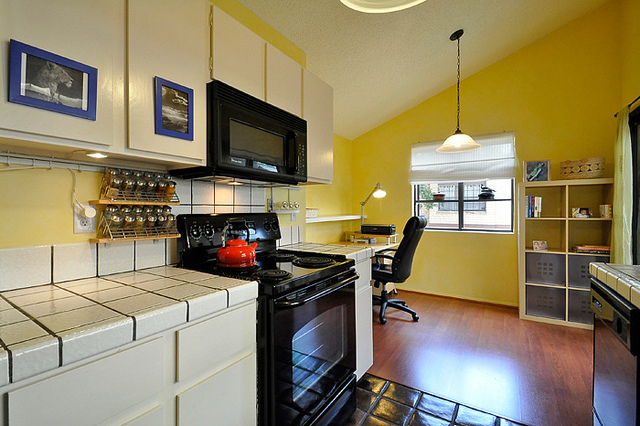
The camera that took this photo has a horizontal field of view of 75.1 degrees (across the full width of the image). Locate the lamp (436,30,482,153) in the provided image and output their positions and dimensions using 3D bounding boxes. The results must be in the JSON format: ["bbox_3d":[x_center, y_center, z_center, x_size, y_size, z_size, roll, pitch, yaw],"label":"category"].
[{"bbox_3d":[1.488,-1.220,4.336,0.409,1.287,1.266,4,15,18],"label":"lamp"}]

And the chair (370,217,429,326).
[{"bbox_3d":[0.847,0.574,4.612,0.538,1.265,1.121,1,15,7],"label":"chair"}]

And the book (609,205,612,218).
[{"bbox_3d":[2.872,-0.025,4.120,0.019,0.080,0.077,1,-9,23],"label":"book"}]

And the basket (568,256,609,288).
[{"bbox_3d":[2.753,0.582,4.295,0.376,0.358,0.280,1,5,24],"label":"basket"}]

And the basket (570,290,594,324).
[{"bbox_3d":[2.719,0.961,4.257,0.245,0.321,0.250,-7,-13,30],"label":"basket"}]

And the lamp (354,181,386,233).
[{"bbox_3d":[0.652,-0.067,5.464,0.386,0.826,0.852,1,15,4],"label":"lamp"}]

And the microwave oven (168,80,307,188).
[{"bbox_3d":[-0.548,-0.507,3.109,0.505,0.574,1.023,-2,-3,35],"label":"microwave oven"}]

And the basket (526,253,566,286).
[{"bbox_3d":[2.425,0.620,4.484,0.396,0.360,0.296,1,-13,24],"label":"basket"}]

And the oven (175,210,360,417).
[{"bbox_3d":[-0.230,0.697,3.654,1.368,2.114,1.463,-3,-3,30],"label":"oven"}]

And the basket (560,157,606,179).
[{"bbox_3d":[2.685,-0.391,4.244,0.261,0.190,0.318,3,-4,-35],"label":"basket"}]
